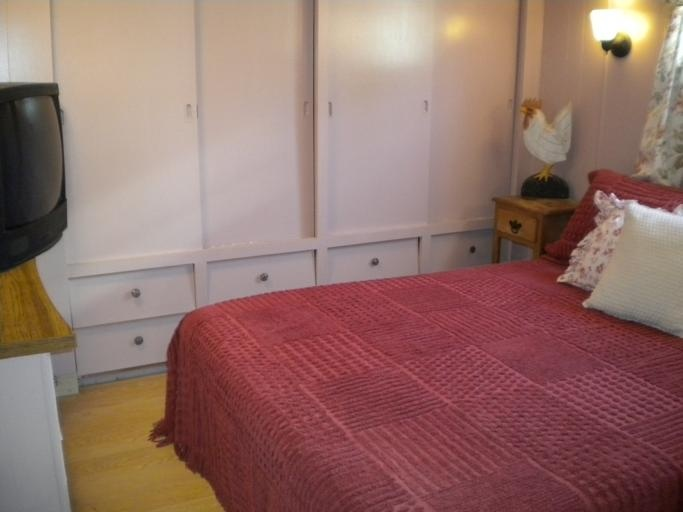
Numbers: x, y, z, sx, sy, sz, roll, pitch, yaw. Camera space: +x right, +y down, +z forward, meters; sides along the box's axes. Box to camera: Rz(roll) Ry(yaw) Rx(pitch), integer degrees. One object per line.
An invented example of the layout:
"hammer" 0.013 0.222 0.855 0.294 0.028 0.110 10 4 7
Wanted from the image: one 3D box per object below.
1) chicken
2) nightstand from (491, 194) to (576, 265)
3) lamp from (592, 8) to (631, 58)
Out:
"chicken" 1.302 -0.750 3.345 0.305 0.486 0.305 8 20 24
"nightstand" 1.230 -0.118 3.361 0.336 0.512 0.487 -9 21 -25
"lamp" 1.495 -1.237 2.982 0.162 0.347 0.194 -4 10 -21
